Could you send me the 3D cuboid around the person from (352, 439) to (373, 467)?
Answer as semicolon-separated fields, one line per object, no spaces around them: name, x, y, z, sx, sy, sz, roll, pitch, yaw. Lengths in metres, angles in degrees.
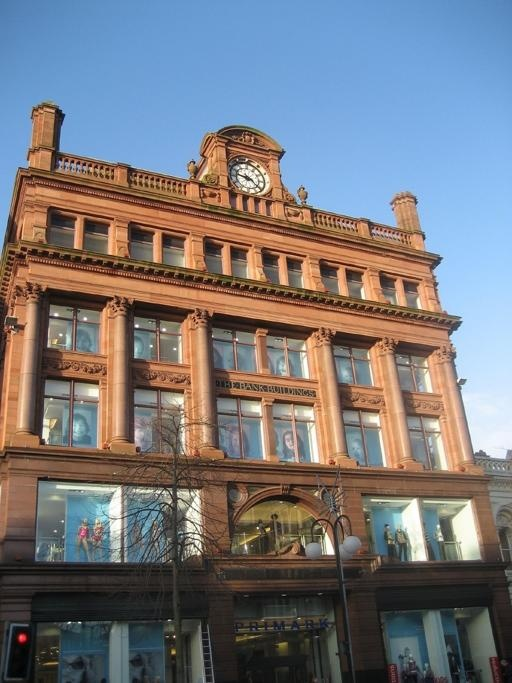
person;5.349;5.801;32.896;1.294;1.450;0.295;20;-41;-39

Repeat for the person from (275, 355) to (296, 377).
person;1.431;1.366;33.252;1.188;1.450;0.840;6;-51;-8

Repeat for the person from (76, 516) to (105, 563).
person;-6.164;7.393;23.690;0.973;1.606;0.245;17;-39;-35
